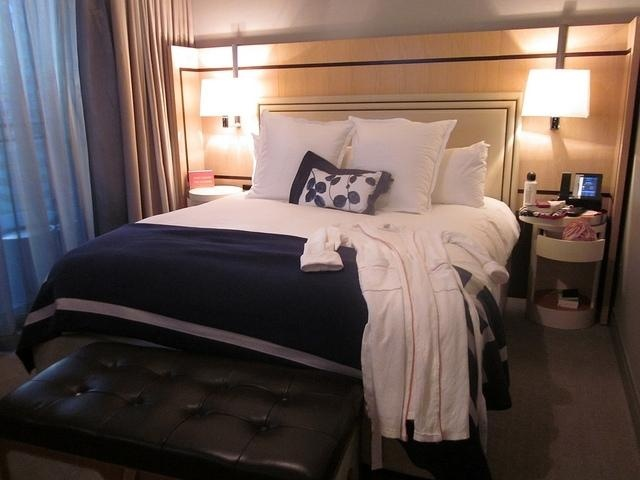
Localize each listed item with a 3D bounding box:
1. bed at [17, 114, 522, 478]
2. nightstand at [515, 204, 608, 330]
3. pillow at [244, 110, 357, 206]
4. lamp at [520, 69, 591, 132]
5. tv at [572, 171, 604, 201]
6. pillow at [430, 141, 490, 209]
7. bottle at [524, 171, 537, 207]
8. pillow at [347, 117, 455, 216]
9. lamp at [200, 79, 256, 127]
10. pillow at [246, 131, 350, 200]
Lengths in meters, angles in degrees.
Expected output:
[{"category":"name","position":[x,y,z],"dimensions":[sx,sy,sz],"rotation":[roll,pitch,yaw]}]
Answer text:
[{"category":"bed","position":[0.312,0.292,2.972],"dimensions":[2.166,1.387,2.196],"rotation":[7,20,21]},{"category":"nightstand","position":[1.724,0.146,3.582],"dimensions":[0.734,0.925,0.783],"rotation":[2,12,19]},{"category":"pillow","position":[-0.211,-0.609,3.541],"dimensions":[0.702,0.668,0.224],"rotation":[4,-2,31]},{"category":"lamp","position":[1.577,-0.968,3.255],"dimensions":[0.428,0.375,0.353],"rotation":[6,22,22]},{"category":"tv","position":[1.905,-0.389,3.423],"dimensions":[0.181,0.179,0.169],"rotation":[13,20,29]},{"category":"pillow","position":[0.969,-0.448,3.375],"dimensions":[0.470,0.376,0.169],"rotation":[4,13,28]},{"category":"bottle","position":[1.482,-0.357,3.383],"dimensions":[0.080,0.233,0.151],"rotation":[7,18,12]},{"category":"pillow","position":[0.566,-0.478,3.284],"dimensions":[0.601,0.285,0.527],"rotation":[5,58,16]},{"category":"lamp","position":[-0.781,-1.197,4.214],"dimensions":[0.409,0.321,0.384],"rotation":[2,18,-1]},{"category":"pillow","position":[-0.239,-0.541,3.638],"dimensions":[0.609,0.516,0.176],"rotation":[10,1,35]}]
